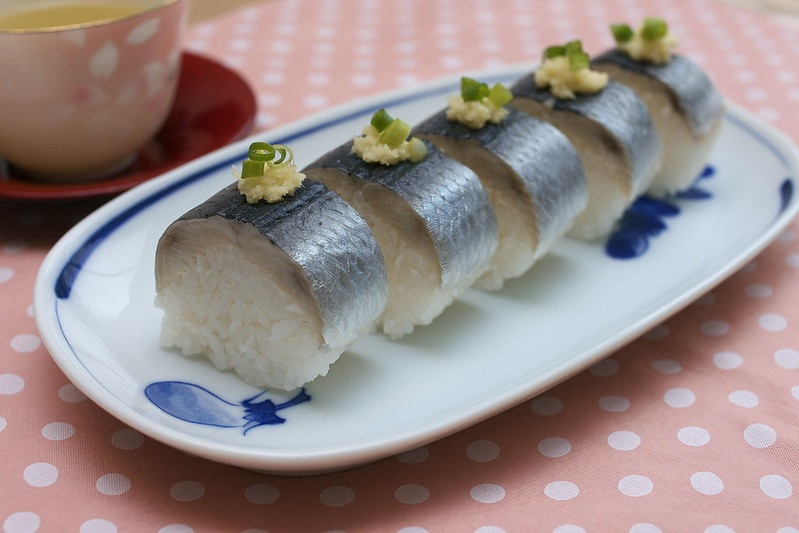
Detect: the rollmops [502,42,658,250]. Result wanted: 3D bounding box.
[{"bbox_3d":[0.610,-0.382,2.530,0.284,0.518,0.516,-33,49,-26],"label":"rollmops"}]
